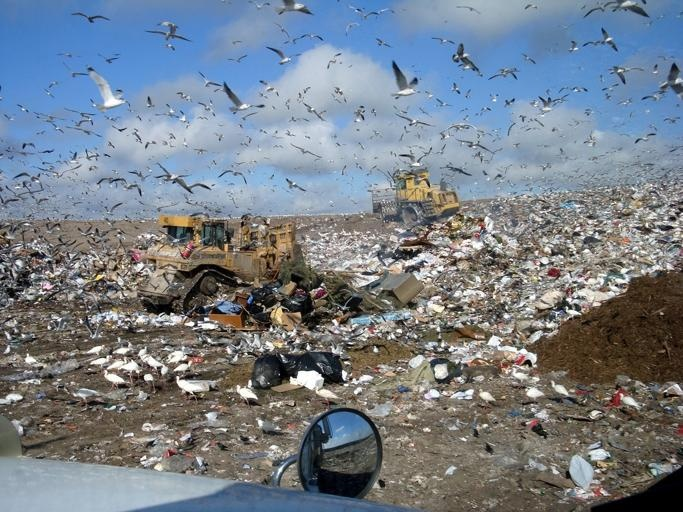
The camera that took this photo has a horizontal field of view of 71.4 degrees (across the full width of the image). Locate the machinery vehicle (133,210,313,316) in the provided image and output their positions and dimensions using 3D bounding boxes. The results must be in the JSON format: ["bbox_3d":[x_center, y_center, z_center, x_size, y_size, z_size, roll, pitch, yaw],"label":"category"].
[{"bbox_3d":[-2.788,0.065,10.817,2.127,1.190,3.016,12,17,41],"label":"machinery vehicle"}]

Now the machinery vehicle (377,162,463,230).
[{"bbox_3d":[3.120,-2.665,21.440,2.331,1.831,5.430,-19,16,-25],"label":"machinery vehicle"}]
